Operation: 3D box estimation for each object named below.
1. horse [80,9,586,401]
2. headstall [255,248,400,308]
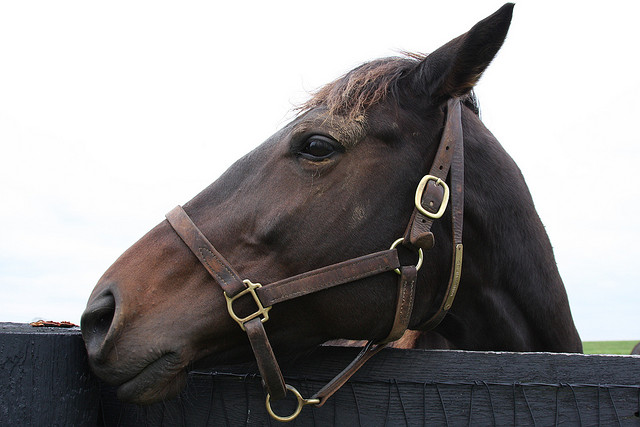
[{"bbox_3d":[0.196,0.053,3.994,2.443,1.987,1.057,11,-18,-19],"label":"horse"},{"bbox_3d":[0.016,0.329,3.906,0.881,0.165,0.037,-17,-3,-1],"label":"headstall"}]
